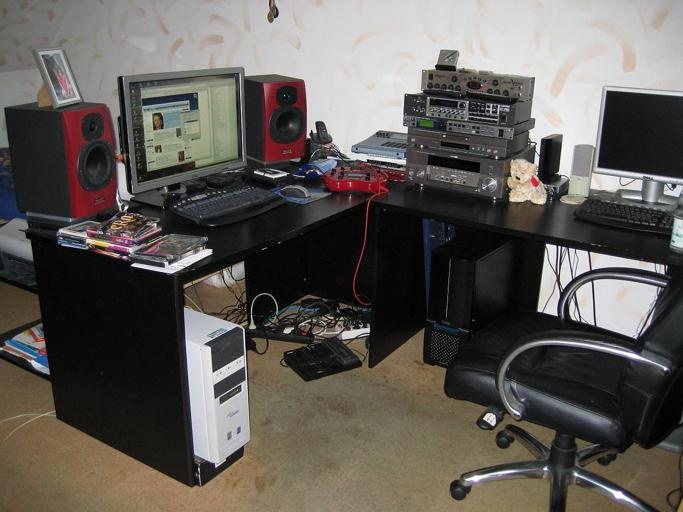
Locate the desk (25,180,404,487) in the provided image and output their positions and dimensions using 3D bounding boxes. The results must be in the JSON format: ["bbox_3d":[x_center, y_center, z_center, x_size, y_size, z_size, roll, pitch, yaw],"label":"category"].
[{"bbox_3d":[-0.577,0.215,2.635,1.239,0.892,1.384,13,22,27],"label":"desk"}]

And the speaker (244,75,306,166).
[{"bbox_3d":[-0.341,-0.680,2.729,0.313,0.420,0.118,-4,22,-10],"label":"speaker"}]

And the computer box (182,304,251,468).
[{"bbox_3d":[-0.511,0.526,2.057,0.230,0.564,0.200,7,22,17],"label":"computer box"}]

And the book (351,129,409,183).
[{"bbox_3d":[0.240,-0.533,2.753,0.276,0.109,0.280,25,41,34],"label":"book"}]

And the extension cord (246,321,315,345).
[{"bbox_3d":[-0.366,0.432,2.950,0.177,0.042,0.173,11,9,34],"label":"extension cord"}]

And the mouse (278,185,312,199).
[{"bbox_3d":[-0.217,-0.299,2.465,0.102,0.030,0.076,12,29,21],"label":"mouse"}]

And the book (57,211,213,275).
[{"bbox_3d":[-0.762,-0.059,1.912,0.446,0.085,0.260,14,29,19],"label":"book"}]

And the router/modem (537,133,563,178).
[{"bbox_3d":[1.002,-0.481,2.560,0.058,0.168,0.193,11,31,40],"label":"router/modem"}]

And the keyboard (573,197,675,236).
[{"bbox_3d":[1.176,-0.169,2.222,0.357,0.070,0.227,13,25,29],"label":"keyboard"}]

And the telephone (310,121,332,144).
[{"bbox_3d":[-0.119,-0.655,2.951,0.101,0.143,0.047,-7,-16,-16],"label":"telephone"}]

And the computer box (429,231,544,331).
[{"bbox_3d":[0.730,0.248,2.855,0.519,0.527,0.509,4,7,43],"label":"computer box"}]

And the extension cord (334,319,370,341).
[{"bbox_3d":[0.067,0.416,3.015,0.132,0.031,0.127,16,25,36],"label":"extension cord"}]

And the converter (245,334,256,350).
[{"bbox_3d":[-0.507,0.465,2.902,0.078,0.025,0.059,26,28,32],"label":"converter"}]

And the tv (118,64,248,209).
[{"bbox_3d":[-0.689,-0.502,2.299,0.226,0.471,0.548,19,31,32],"label":"tv"}]
